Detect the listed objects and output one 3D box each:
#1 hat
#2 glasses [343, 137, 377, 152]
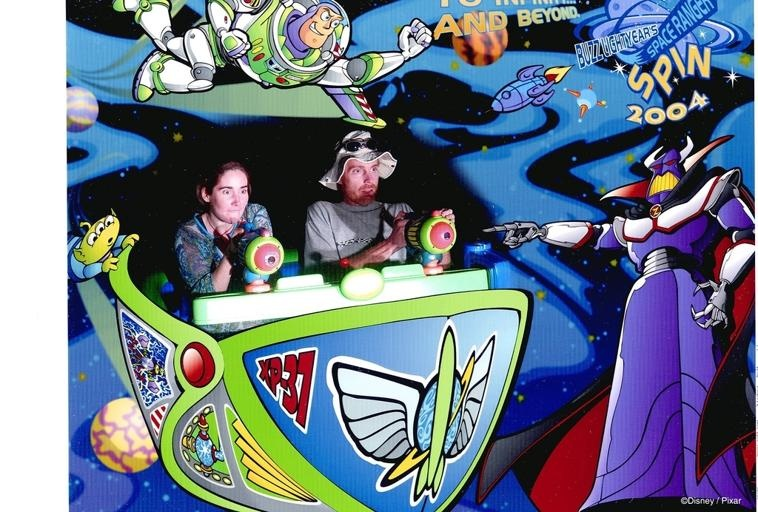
[{"bbox_3d":[-0.179,-0.866,8.140,0.641,0.442,0.624,-19,-9,43],"label":"hat"},{"bbox_3d":[-0.161,-0.938,7.973,0.276,0.102,0.028,-2,11,-1],"label":"glasses"}]
